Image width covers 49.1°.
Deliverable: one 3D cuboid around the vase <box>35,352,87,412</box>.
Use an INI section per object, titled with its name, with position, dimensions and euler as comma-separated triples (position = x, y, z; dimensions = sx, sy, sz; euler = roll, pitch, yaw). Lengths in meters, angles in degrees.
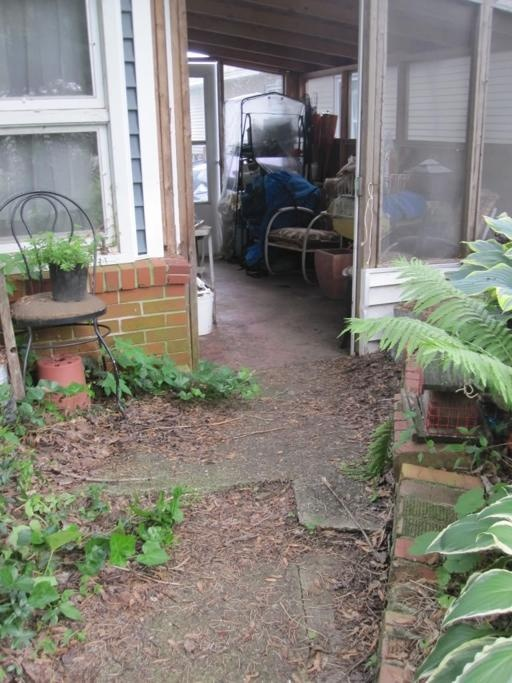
[vase]
position = -0.900, 0.165, 2.720
dimensions = 0.256, 0.258, 0.247
euler = 15, 21, 25
